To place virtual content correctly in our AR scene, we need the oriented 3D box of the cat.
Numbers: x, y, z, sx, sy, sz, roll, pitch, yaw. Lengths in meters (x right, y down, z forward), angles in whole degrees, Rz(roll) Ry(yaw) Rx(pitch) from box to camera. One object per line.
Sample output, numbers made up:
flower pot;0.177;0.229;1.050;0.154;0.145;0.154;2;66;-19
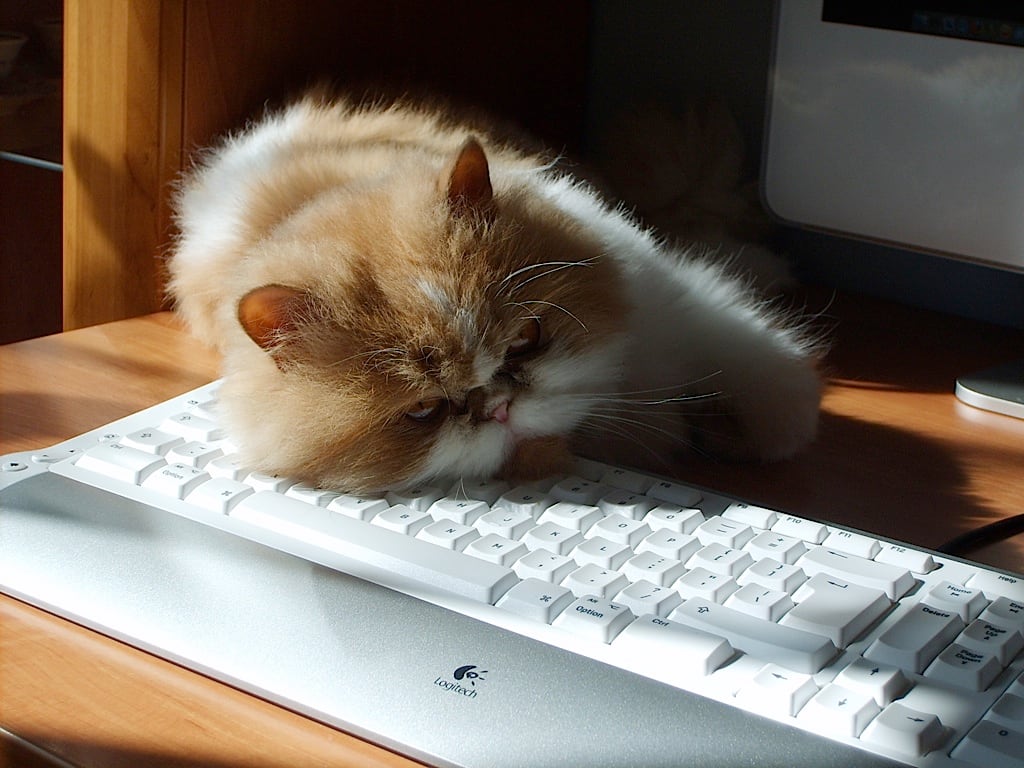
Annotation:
cat;-0.056;-0.064;0.813;0.344;0.238;0.523;-32;29;-22
